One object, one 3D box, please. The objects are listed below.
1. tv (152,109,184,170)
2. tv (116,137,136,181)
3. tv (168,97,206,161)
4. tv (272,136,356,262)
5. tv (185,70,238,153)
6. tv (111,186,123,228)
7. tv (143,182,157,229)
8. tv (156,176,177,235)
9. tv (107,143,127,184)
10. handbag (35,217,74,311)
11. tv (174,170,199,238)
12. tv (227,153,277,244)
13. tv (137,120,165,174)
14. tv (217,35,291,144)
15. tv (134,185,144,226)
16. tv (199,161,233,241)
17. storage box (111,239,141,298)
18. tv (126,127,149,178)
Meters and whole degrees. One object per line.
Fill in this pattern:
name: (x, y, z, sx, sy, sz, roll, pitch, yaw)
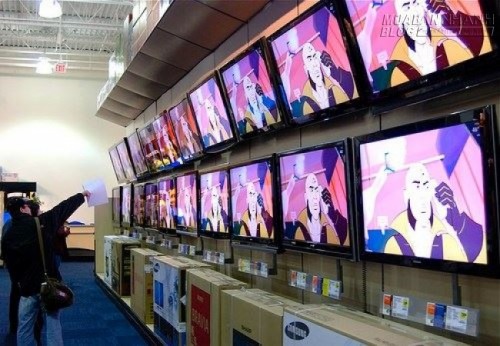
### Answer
tv: (-1.121, -0.461, 4.870, 0.088, 0.883, 0.733, -19, 0, -34)
tv: (-2.444, -0.278, 6.992, 0.101, 1.069, 0.725, -13, 19, -26)
tv: (-0.747, -0.533, 4.249, 0.086, 0.850, 0.707, -15, -2, -28)
tv: (0.455, 0.187, 2.465, 0.115, 0.919, 0.872, 2, -5, -28)
tv: (-0.388, -0.614, 3.653, 0.102, 0.912, 0.813, -13, -7, -25)
tv: (-2.769, 0.722, 7.371, 0.086, 0.932, 0.882, -1, 3, -27)
tv: (-1.515, 0.493, 5.380, 0.089, 0.924, 0.650, 3, -6, -29)
tv: (-1.114, 0.435, 4.743, 0.082, 0.848, 0.795, 1, 0, -26)
tv: (-3.260, -0.211, 8.616, 0.120, 1.236, 1.133, -12, 13, -24)
handbag: (-1.752, 0.815, 3.153, 0.375, 0.817, 0.247, 7, -11, -30)
tv: (-0.751, 0.367, 4.173, 0.081, 0.813, 0.796, -1, 3, -21)
tv: (0.021, 0.233, 3.017, 0.085, 0.897, 0.813, -2, 1, -26)
tv: (-1.546, -0.403, 5.543, 0.113, 0.931, 0.765, -15, -2, -29)
tv: (0.046, -0.681, 3.013, 0.112, 0.855, 0.857, -14, -10, -35)
tv: (-1.872, 0.549, 5.972, 0.104, 0.933, 0.667, 0, -2, -27)
tv: (-0.342, 0.299, 3.565, 0.086, 0.889, 0.839, 0, 0, -24)
storage box: (-1.892, 1.470, 5.400, 0.365, 1.235, 1.004, 4, -2, -18)
tv: (-1.976, -0.346, 6.228, 0.101, 0.985, 0.924, -12, 8, -25)
